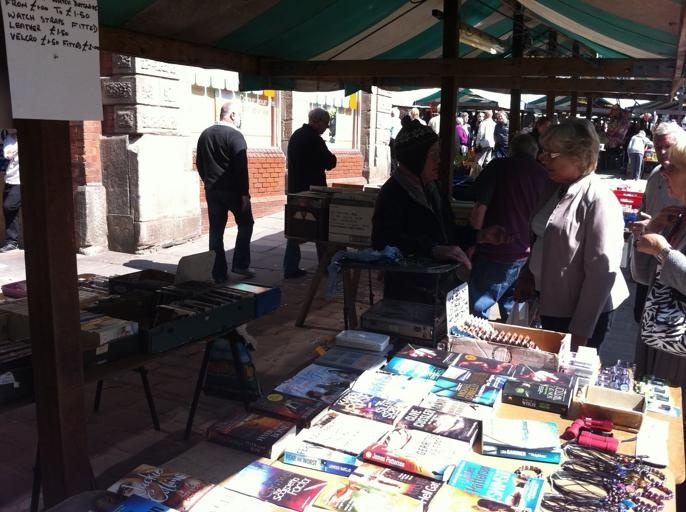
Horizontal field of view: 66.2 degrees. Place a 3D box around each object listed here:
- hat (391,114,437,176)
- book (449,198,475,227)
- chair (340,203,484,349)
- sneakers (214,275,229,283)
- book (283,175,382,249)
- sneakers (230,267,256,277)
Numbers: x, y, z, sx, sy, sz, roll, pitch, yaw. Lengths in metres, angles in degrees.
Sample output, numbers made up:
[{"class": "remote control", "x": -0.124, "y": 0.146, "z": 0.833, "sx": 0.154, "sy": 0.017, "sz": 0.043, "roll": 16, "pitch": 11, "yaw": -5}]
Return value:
[{"class": "hat", "x": 0.550, "y": -0.830, "z": 4.026, "sx": 0.357, "sy": 0.420, "sz": 0.223, "roll": 10, "pitch": 17, "yaw": 39}, {"class": "book", "x": 1.440, "y": -0.544, "z": 6.445, "sx": 0.394, "sy": 0.239, "sz": 0.554, "roll": 0, "pitch": 3, "yaw": 4}, {"class": "chair", "x": 0.535, "y": 0.127, "z": 3.957, "sx": 0.842, "sy": 1.256, "sz": 1.312, "roll": 3, "pitch": 8, "yaw": 25}, {"class": "sneakers", "x": -1.612, "y": 0.301, "z": 6.878, "sx": 0.239, "sy": 0.082, "sz": 0.215, "roll": 1, "pitch": 0, "yaw": -34}, {"class": "book", "x": -0.075, "y": -0.555, "z": 6.101, "sx": 0.835, "sy": 0.381, "sz": 0.794, "roll": 5, "pitch": 13, "yaw": 26}, {"class": "sneakers", "x": -1.517, "y": 0.255, "z": 8.036, "sx": 0.406, "sy": 0.159, "sz": 0.133, "roll": 4, "pitch": 16, "yaw": -14}]
